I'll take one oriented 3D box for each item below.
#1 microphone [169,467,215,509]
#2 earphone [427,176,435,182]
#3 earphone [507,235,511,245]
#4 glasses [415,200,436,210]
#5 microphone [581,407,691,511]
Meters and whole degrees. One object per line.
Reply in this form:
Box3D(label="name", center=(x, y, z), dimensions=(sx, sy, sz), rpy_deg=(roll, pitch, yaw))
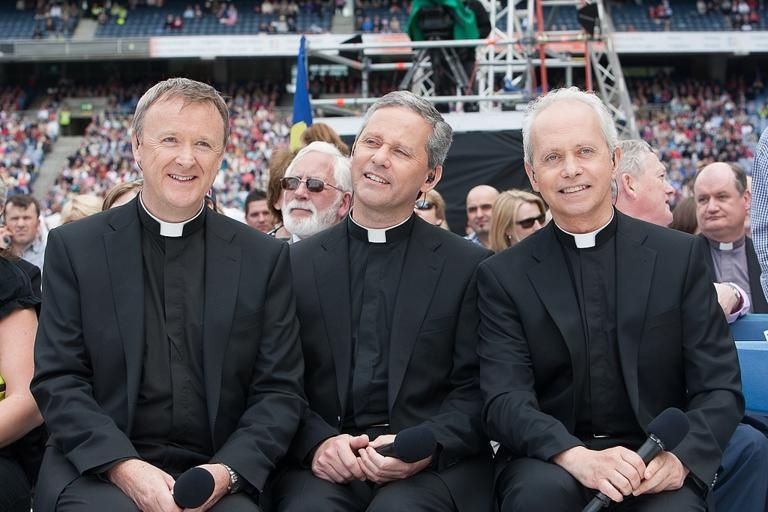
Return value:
Box3D(label="microphone", center=(-1.229, 1.503, 5.449), dimensions=(0.266, 0.271, 0.123), rpy_deg=(-3, 9, -16))
Box3D(label="earphone", center=(0.358, -0.601, 6.598), dimensions=(0.042, 0.044, 0.010), rpy_deg=(-1, 5, -12))
Box3D(label="earphone", center=(1.317, -0.178, 8.985), dimensions=(0.024, 0.102, 0.025), rpy_deg=(-12, 50, -8))
Box3D(label="glasses", center=(0.429, -0.551, 9.121), dimensions=(0.187, 0.064, 0.193), rpy_deg=(-4, 36, -35))
Box3D(label="microphone", center=(1.713, 1.382, 5.682), dimensions=(0.198, 0.793, 0.191), rpy_deg=(43, 2, 19))
